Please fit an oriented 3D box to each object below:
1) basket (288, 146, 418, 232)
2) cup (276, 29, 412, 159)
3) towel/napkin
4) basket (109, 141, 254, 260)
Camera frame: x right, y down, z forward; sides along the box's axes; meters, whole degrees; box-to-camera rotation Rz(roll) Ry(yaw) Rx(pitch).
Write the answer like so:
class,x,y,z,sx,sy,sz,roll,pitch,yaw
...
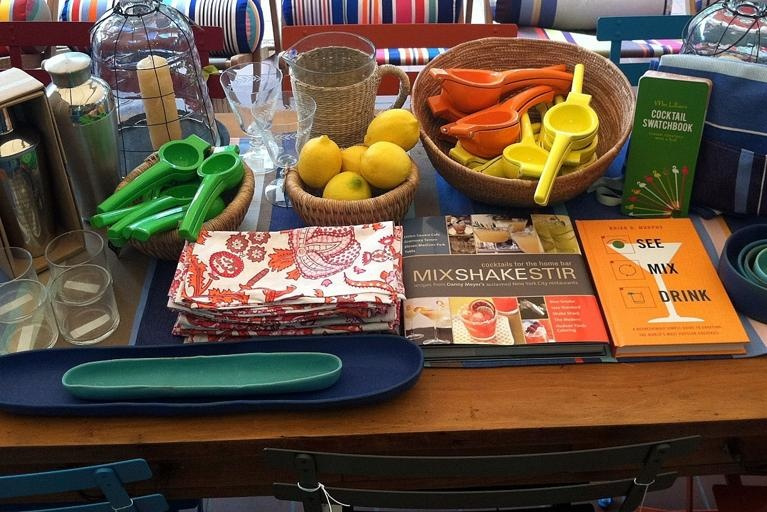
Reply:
class,x,y,z,sx,sy,sz,roll,pitch,yaw
basket,-0.071,-0.124,1.176,0.280,0.081,0.229,-6,32,-5
cup,-0.083,-0.358,1.263,0.248,0.163,0.162,6,41,3
towel/napkin,-0.166,0.041,1.005,0.414,0.093,0.195,0,52,0
basket,-0.333,-0.087,1.112,0.279,0.092,0.224,-21,54,-8
